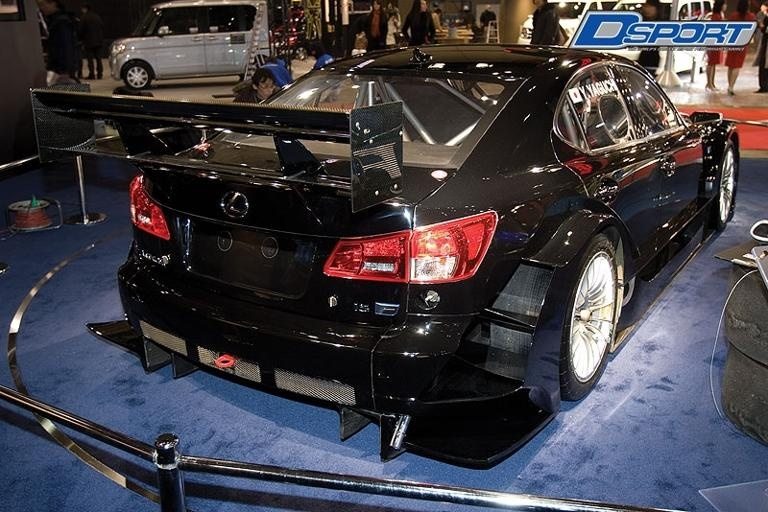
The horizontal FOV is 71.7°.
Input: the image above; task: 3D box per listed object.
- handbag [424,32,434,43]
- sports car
[{"bbox_3d":[1.041,-5.040,12.248,0.234,0.330,0.122,2,-12,-10],"label":"handbag"},{"bbox_3d":[0.838,-0.380,3.542,2.163,1.283,3.811,13,27,35],"label":"sports car"}]
